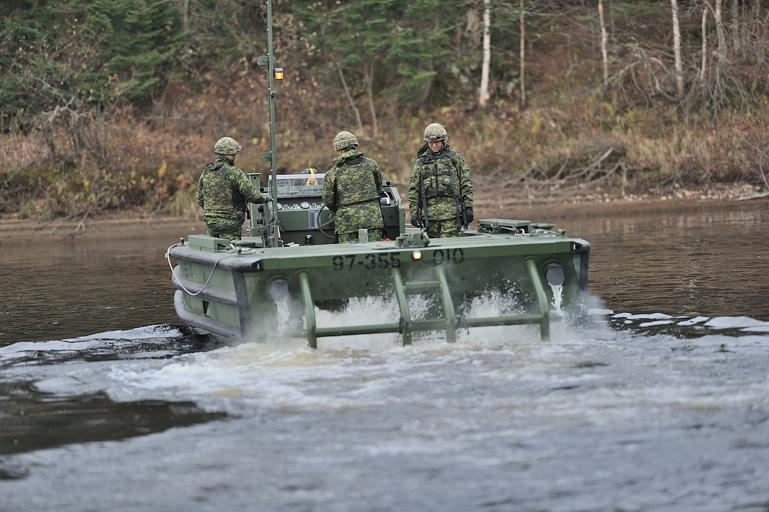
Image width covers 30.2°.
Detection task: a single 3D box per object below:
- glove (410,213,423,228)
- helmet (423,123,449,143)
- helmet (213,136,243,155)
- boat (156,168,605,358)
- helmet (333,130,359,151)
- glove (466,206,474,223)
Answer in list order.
[{"bbox_3d":[0.681,-0.731,30.916,0.277,0.200,0.370,-6,-38,18],"label":"glove"},{"bbox_3d":[1.106,-2.589,30.957,0.583,0.463,0.621,2,16,8],"label":"helmet"},{"bbox_3d":[-3.474,-2.354,31.299,0.594,0.317,0.427,-7,14,-13],"label":"helmet"},{"bbox_3d":[-1.036,0.561,30.636,4.911,2.804,6.024,-3,5,-20],"label":"boat"},{"bbox_3d":[-0.903,-2.427,30.755,0.439,0.455,0.563,-16,24,-34],"label":"helmet"},{"bbox_3d":[1.814,-0.835,30.908,0.230,0.304,0.308,0,-6,-2],"label":"glove"}]
